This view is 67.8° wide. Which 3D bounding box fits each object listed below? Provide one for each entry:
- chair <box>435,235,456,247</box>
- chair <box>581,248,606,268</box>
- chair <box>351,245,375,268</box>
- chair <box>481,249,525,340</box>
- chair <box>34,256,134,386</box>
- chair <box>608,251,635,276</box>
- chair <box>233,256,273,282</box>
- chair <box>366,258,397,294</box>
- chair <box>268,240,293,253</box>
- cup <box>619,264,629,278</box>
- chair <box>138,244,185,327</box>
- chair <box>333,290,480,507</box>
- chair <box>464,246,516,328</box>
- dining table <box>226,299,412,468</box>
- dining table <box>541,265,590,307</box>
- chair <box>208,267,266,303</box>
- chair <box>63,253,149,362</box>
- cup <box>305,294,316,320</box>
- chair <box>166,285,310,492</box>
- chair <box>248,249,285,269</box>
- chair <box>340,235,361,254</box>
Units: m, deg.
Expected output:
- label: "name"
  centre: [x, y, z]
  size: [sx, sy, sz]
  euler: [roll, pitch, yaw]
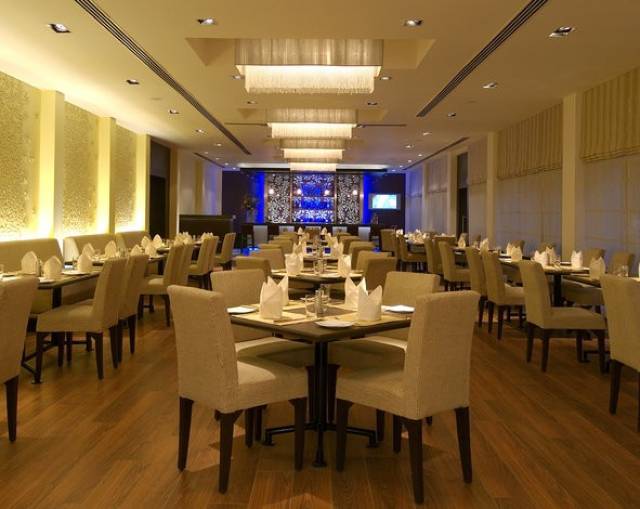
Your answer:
- label: "chair"
  centre: [2.898, -0.310, 10.982]
  size: [0.313, 0.240, 0.343]
  euler: [2, 7, 9]
- label: "chair"
  centre: [3.982, 0.049, 6.881]
  size: [0.236, 0.275, 0.214]
  euler: [6, 6, -41]
- label: "chair"
  centre: [0.681, 0.027, 7.968]
  size: [0.367, 0.558, 0.365]
  euler: [0, -1, -20]
- label: "chair"
  centre: [2.438, 0.518, 6.372]
  size: [0.606, 1.073, 0.601]
  euler: [-1, 5, -27]
- label: "chair"
  centre: [-2.423, 0.617, 4.821]
  size: [0.654, 1.234, 0.677]
  euler: [4, 1, -8]
- label: "chair"
  centre: [3.982, 0.117, 6.221]
  size: [0.286, 0.447, 0.287]
  euler: [4, -2, -10]
- label: "chair"
  centre: [-0.743, 0.137, 5.259]
  size: [0.301, 0.430, 0.302]
  euler: [-2, -3, 40]
- label: "chair"
  centre: [0.704, 0.239, 5.747]
  size: [0.333, 0.550, 0.395]
  euler: [0, 5, -15]
- label: "chair"
  centre: [-0.753, -0.174, 8.948]
  size: [0.305, 0.412, 0.289]
  euler: [0, 1, 41]
- label: "cup"
  centre: [3.262, 0.177, 5.076]
  size: [0.092, 0.187, 0.092]
  euler: [-1, 9, 0]
- label: "chair"
  centre: [-2.447, 0.436, 7.075]
  size: [0.582, 1.139, 0.640]
  euler: [2, 1, -3]
- label: "chair"
  centre: [0.505, 0.789, 2.834]
  size: [0.812, 1.176, 0.446]
  euler: [2, 6, 17]
- label: "chair"
  centre: [2.580, 0.571, 6.916]
  size: [0.807, 1.208, 0.818]
  euler: [12, -15, -33]
- label: "dining table"
  centre: [-0.030, 0.807, 3.367]
  size: [0.961, 1.052, 0.981]
  euler: [6, 9, 43]
- label: "dining table"
  centre: [3.083, 0.410, 6.153]
  size: [0.195, 0.458, 0.266]
  euler: [22, -2, 3]
- label: "chair"
  centre: [-0.703, 0.255, 3.955]
  size: [0.320, 0.452, 0.322]
  euler: [3, -7, -41]
- label: "chair"
  centre: [-2.458, 0.579, 5.004]
  size: [0.623, 1.152, 0.580]
  euler: [2, 6, -14]
- label: "cup"
  centre: [-0.070, 0.364, 3.350]
  size: [0.099, 0.184, 0.109]
  euler: [0, -9, 0]
- label: "chair"
  centre: [-0.598, 0.783, 3.043]
  size: [0.661, 1.129, 0.596]
  euler: [-4, 2, -39]
- label: "chair"
  centre: [-0.768, 0.026, 6.857]
  size: [0.315, 0.470, 0.337]
  euler: [3, 5, 38]
- label: "chair"
  centre: [0.587, -0.253, 10.021]
  size: [0.405, 0.584, 0.431]
  euler: [1, 4, -1]
